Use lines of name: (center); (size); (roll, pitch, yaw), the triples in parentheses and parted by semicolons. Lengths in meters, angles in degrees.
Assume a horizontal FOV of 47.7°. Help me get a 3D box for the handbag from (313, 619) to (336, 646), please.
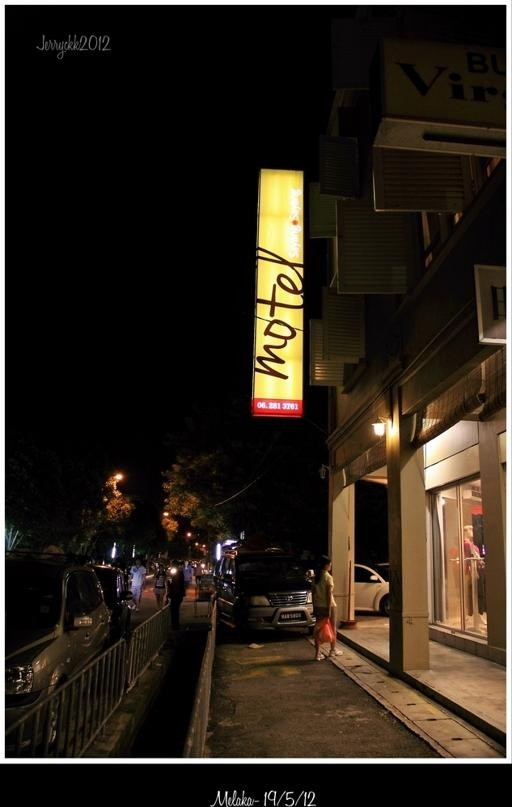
handbag: (1.092, 3.648, 9.321); (0.297, 0.414, 0.481); (1, -13, 6)

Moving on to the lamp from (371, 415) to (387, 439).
lamp: (2.041, 0.404, 9.638); (0.251, 0.369, 0.309); (0, -3, 15)

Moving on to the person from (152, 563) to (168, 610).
person: (-2.897, 5.574, 17.626); (0.348, 1.261, 1.607); (4, -13, -10)
